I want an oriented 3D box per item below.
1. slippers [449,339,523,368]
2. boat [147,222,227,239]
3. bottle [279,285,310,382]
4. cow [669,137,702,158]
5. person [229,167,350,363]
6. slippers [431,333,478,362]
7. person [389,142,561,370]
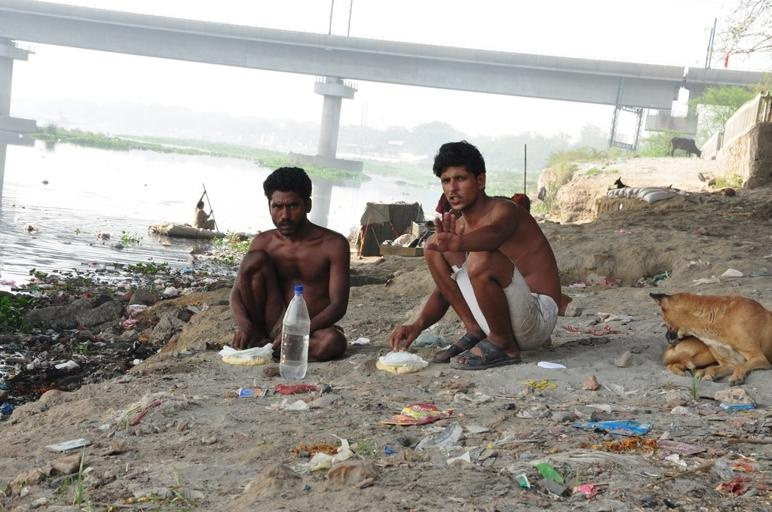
[{"bbox_3d":[0.856,0.845,6.580,0.593,0.185,0.233,0,-1,-6],"label":"slippers"},{"bbox_3d":[-4.940,-0.605,18.788,1.679,0.391,0.728,-1,4,-33],"label":"boat"},{"bbox_3d":[-0.795,0.649,6.651,0.244,0.797,0.396,2,4,-7],"label":"bottle"},{"bbox_3d":[11.161,-4.100,28.614,0.952,0.859,1.673,3,4,18],"label":"cow"},{"bbox_3d":[-0.891,0.066,7.086,1.088,1.771,0.383,2,4,-1],"label":"person"},{"bbox_3d":[0.624,0.817,6.820,0.576,0.181,0.173,-12,5,-9],"label":"slippers"},{"bbox_3d":[0.869,-0.005,6.576,1.390,1.959,0.994,2,4,-6],"label":"person"}]
